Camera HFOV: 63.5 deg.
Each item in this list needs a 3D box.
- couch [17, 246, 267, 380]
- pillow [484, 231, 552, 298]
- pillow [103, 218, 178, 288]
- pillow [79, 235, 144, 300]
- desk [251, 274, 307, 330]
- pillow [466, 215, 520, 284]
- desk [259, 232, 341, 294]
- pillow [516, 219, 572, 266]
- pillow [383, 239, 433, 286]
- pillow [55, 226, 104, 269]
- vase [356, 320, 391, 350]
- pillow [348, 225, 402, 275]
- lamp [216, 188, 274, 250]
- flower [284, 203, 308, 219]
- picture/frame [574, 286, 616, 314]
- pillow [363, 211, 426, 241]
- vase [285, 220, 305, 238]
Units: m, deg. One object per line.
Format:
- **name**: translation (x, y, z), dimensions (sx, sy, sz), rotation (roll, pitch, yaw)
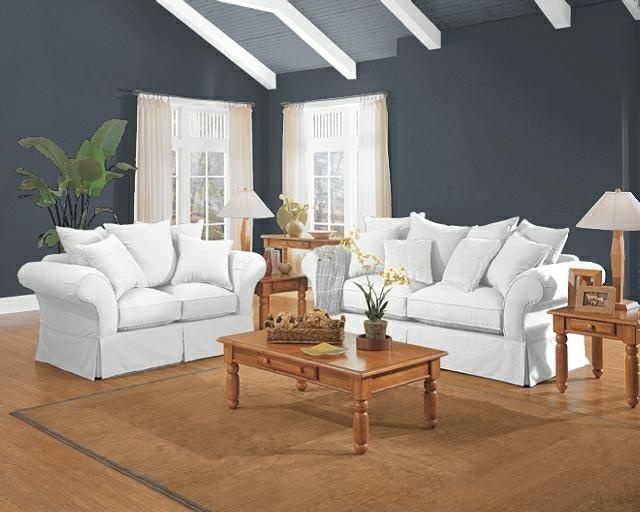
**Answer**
- **couch**: translation (-1.648, 0.283, 4.460), dimensions (1.065, 0.898, 1.969), rotation (1, 3, 44)
- **pillow**: translation (1.652, 0.083, 4.070), dimensions (0.161, 0.447, 0.501), rotation (24, 5, -23)
- **pillow**: translation (-1.574, -0.006, 4.544), dimensions (0.185, 0.529, 0.604), rotation (-23, -8, 32)
- **pillow**: translation (-1.687, 0.075, 4.204), dimensions (0.398, 0.488, 0.437), rotation (1, 5, 15)
- **desk**: translation (-0.386, 0.474, 5.404), dimensions (0.552, 0.461, 0.440), rotation (-4, -2, -25)
- **pillow**: translation (1.592, -0.075, 4.453), dimensions (0.170, 0.492, 0.541), rotation (28, -18, -24)
- **desk**: translation (-0.214, -0.067, 6.874), dimensions (1.124, 0.797, 0.679), rotation (5, 8, 41)
- **pillow**: translation (1.869, -0.125, 4.273), dimensions (0.420, 0.389, 0.115), rotation (25, -24, 29)
- **pillow**: translation (0.793, 0.062, 4.595), dimensions (0.527, 0.427, 0.159), rotation (-3, -5, 29)
- **pillow**: translation (-1.987, -0.084, 4.248), dimensions (0.392, 0.329, 0.114), rotation (-1, -26, -47)
- **vase**: translation (0.327, 0.472, 3.139), dimensions (0.209, 0.123, 0.189), rotation (0, -3, -1)
- **pillow**: translation (0.490, -0.046, 4.578), dimensions (0.543, 0.449, 0.182), rotation (-2, -12, 15)
- **lamp**: translation (-0.797, -0.420, 5.853), dimensions (0.860, 0.828, 0.731), rotation (0, 2, -1)
- **flower**: translation (-0.319, -0.584, 6.629), dimensions (0.317, 0.268, 0.359), rotation (0, 5, -4)
- **picture/frame**: translation (1.839, 0.293, 3.469), dimensions (0.205, 0.153, 0.071), rotation (-2, -16, 40)
- **pillow**: translation (0.747, -0.303, 5.159), dimensions (0.467, 0.300, 0.132), rotation (1, -20, 40)
- **vase**: translation (-0.322, -0.350, 6.631), dimensions (0.249, 0.269, 0.225), rotation (1, -6, -7)
